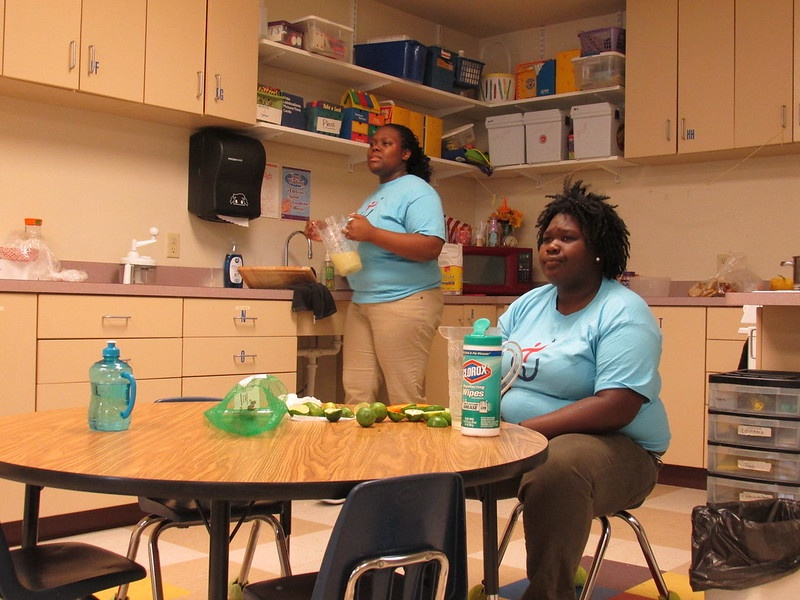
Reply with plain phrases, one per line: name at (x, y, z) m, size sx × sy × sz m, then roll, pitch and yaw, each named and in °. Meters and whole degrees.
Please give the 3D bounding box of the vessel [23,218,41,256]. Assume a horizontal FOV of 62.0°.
vessel at (-1.742, -0.293, 3.181) m, size 0.076 × 0.177 × 0.443 m, roll -1°, pitch 4°, yaw -29°

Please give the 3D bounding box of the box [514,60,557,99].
box at (0.979, -1.661, 4.996) m, size 0.340 × 0.293 × 0.177 m, roll -11°, pitch 31°, yaw -8°

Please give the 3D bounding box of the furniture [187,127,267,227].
furniture at (-0.996, -0.725, 3.903) m, size 0.317 × 0.502 × 0.365 m, roll 1°, pitch 2°, yaw 31°

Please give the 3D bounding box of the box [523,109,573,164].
box at (1.117, -1.207, 4.964) m, size 0.366 × 0.362 × 0.345 m, roll -10°, pitch 12°, yaw -34°

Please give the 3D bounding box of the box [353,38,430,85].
box at (-0.074, -1.667, 4.658) m, size 0.477 × 0.232 × 0.310 m, roll 10°, pitch 15°, yaw 29°

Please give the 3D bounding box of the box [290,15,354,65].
box at (-0.456, -1.634, 4.186) m, size 0.287 × 0.169 × 0.375 m, roll 3°, pitch 3°, yaw 40°

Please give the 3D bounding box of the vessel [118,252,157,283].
vessel at (-1.309, -0.168, 3.347) m, size 0.142 × 0.171 × 0.190 m, roll 3°, pitch 3°, yaw 36°

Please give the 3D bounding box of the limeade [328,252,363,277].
limeade at (-0.250, -0.175, 3.241) m, size 0.134 × 0.096 × 0.119 m, roll -10°, pitch -21°, yaw -38°

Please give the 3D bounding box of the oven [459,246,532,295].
oven at (0.686, -0.202, 4.744) m, size 0.562 × 0.333 × 0.342 m, roll 0°, pitch -2°, yaw -17°

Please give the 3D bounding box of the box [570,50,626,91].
box at (1.390, -1.618, 4.718) m, size 0.409 × 0.205 × 0.308 m, roll 0°, pitch 16°, yaw 27°

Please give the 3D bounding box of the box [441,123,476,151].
box at (0.453, -1.226, 5.061) m, size 0.263 × 0.081 × 0.211 m, roll -4°, pitch 8°, yaw 7°

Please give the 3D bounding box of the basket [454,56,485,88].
basket at (0.510, -1.689, 5.031) m, size 0.282 × 0.186 × 0.215 m, roll -2°, pitch 8°, yaw -35°

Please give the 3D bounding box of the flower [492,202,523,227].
flower at (0.846, -0.652, 5.282) m, size 0.205 × 0.195 × 0.201 m, roll 10°, pitch 23°, yaw 13°

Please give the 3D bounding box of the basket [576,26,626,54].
basket at (1.389, -1.770, 4.613) m, size 0.267 × 0.142 × 0.207 m, roll 1°, pitch 5°, yaw 36°
